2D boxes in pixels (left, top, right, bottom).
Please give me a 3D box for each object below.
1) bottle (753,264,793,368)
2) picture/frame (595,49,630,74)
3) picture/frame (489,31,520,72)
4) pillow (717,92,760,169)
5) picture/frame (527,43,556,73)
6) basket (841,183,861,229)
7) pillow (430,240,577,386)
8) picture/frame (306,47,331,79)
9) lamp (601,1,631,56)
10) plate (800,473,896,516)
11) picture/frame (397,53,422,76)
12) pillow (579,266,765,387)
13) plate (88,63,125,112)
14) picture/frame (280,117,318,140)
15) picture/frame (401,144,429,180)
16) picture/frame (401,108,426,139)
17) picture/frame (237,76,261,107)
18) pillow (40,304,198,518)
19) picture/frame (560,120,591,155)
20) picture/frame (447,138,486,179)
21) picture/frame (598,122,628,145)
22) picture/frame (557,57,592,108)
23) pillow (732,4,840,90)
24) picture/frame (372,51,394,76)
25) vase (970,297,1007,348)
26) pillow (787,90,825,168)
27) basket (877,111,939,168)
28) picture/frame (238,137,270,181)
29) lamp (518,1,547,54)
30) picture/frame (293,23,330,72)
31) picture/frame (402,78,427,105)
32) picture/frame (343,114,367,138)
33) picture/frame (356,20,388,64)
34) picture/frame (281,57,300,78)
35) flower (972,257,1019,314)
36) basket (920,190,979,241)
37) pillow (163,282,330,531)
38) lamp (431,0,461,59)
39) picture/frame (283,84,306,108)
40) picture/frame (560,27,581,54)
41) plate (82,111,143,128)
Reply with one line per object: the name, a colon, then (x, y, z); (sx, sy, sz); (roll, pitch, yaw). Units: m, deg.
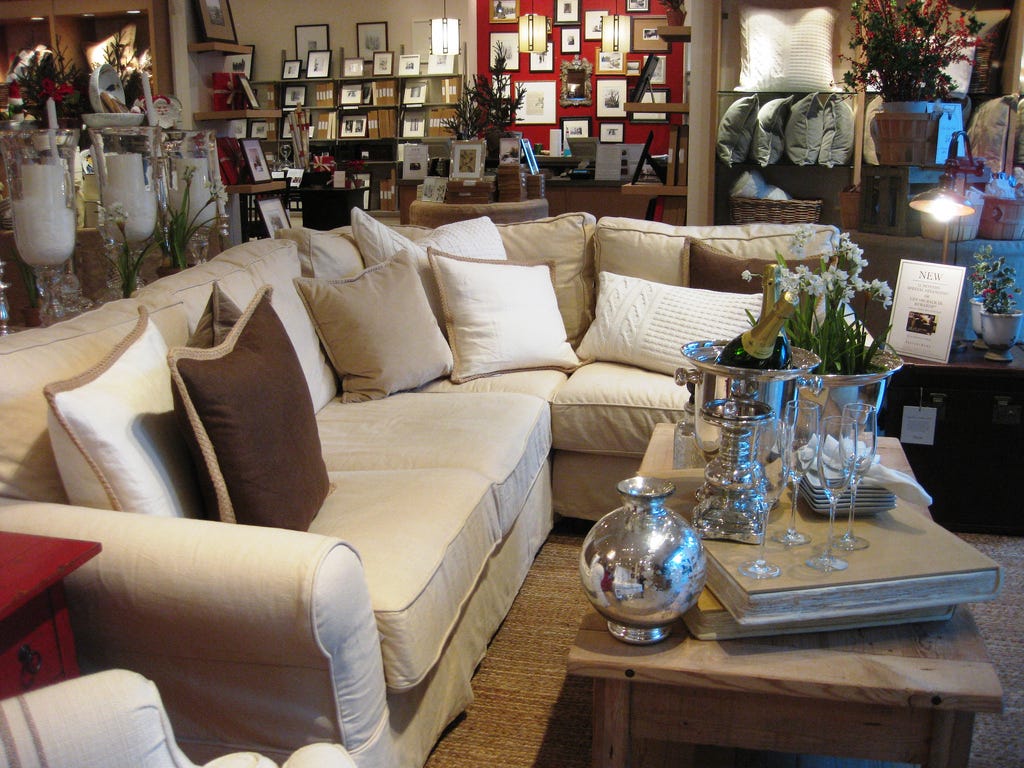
bottle: (0.567, -0.151, 1.734); (0.094, 0.215, 0.199); (5, 16, 27)
picture/frame: (1.122, -3.603, 8.916); (0.249, 0.206, 0.039); (1, 20, 6)
picture/frame: (-0.088, -3.726, 8.951); (0.327, 0.435, 0.203); (-2, 14, 2)
pillow: (1.280, -1.434, 4.662); (0.237, 0.451, 0.481); (3, 17, 23)
picture/frame: (0.325, -3.677, 8.975); (0.254, 0.345, 0.027); (1, 8, 4)
basket: (1.691, -0.890, 4.052); (0.091, 0.211, 0.422); (3, 16, 21)
pillow: (-0.049, -0.254, 3.048); (0.429, 0.554, 0.260); (-9, -4, -13)
picture/frame: (-2.090, -3.495, 8.720); (0.302, 0.352, 0.024); (6, 9, 15)
lamp: (1.113, -3.973, 8.960); (0.435, 0.645, 0.324); (-1, 11, -1)
plate: (0.753, 0.253, 1.815); (0.113, 0.044, 0.109); (-2, 16, -1)
picture/frame: (-1.075, -3.404, 8.517); (0.232, 0.264, 0.025); (7, 28, -6)
pillow: (0.553, -0.236, 2.996); (0.742, 0.532, 0.316); (10, -2, 22)
plate: (-1.351, -0.994, 2.692); (0.109, 0.167, 0.116); (-13, 17, -35)
picture/frame: (-2.327, -2.823, 8.813); (0.368, 0.236, 0.456); (-8, 15, -18)
picture/frame: (-0.706, -1.627, 5.867); (0.176, 0.258, 0.329); (-5, 14, -7)
picture/frame: (-1.047, -2.829, 8.645); (0.271, 0.359, 0.032); (3, 9, 14)
picture/frame: (-1.869, -2.075, 5.704); (0.099, 0.230, 0.274); (-7, 15, -16)
pillow: (-0.860, 0.075, 1.759); (0.112, 0.321, 0.353); (-10, 29, 4)
picture/frame: (0.702, -2.790, 8.840); (0.316, 0.355, 0.582); (-2, 14, 5)
picture/frame: (-0.264, -1.321, 4.712); (0.205, 0.226, 0.262); (-3, 14, 1)
picture/frame: (1.091, -2.807, 8.922); (0.266, 0.198, 0.158); (-1, 14, 7)
picture/frame: (0.702, -3.409, 8.985); (0.453, 0.711, 0.071); (4, 23, 10)
pillow: (1.525, -1.871, 4.428); (0.400, 0.431, 0.151); (4, 8, 10)
picture/frame: (-1.366, -3.444, 8.588); (0.246, 0.287, 0.026); (0, -4, 2)
vase: (1.871, -0.242, 3.155); (0.139, 0.203, 0.145); (1, 18, 19)
pillow: (1.622, -1.443, 4.458); (0.108, 0.332, 0.276); (0, 25, -2)
basket: (1.756, -1.099, 3.640); (0.225, 0.192, 0.244); (1, 14, 7)
picture/frame: (-1.708, -1.503, 5.387); (0.137, 0.282, 0.337); (-5, 14, -8)
lamp: (0.217, -3.950, 8.900); (0.435, 0.661, 0.336); (3, 15, 9)
picture/frame: (-2.164, -3.692, 8.750); (0.487, 0.653, 0.027); (2, 15, 11)
picture/frame: (-1.027, -3.124, 8.562); (0.257, 0.288, 0.152); (0, -1, 10)
picture/frame: (-1.709, -2.842, 8.817); (0.246, 0.250, 0.027); (0, -4, 8)
picture/frame: (-1.487, -3.697, 8.615); (0.409, 0.538, 0.034); (3, 18, 15)
picture/frame: (-2.419, -3.492, 8.821); (0.228, 0.265, 0.025); (-2, -8, 5)
flower: (1.907, -0.425, 3.197); (0.149, 0.211, 0.410); (5, 17, 29)
basket: (1.858, -0.718, 3.435); (0.214, 0.189, 0.223); (-3, 18, -3)
pillow: (-0.640, 0.059, 1.894); (0.168, 0.561, 0.518); (-9, 10, 15)
lamp: (-0.594, -3.140, 7.235); (0.201, 0.305, 0.400); (-13, 17, -36)
picture/frame: (-2.414, -3.208, 8.919); (0.264, 0.231, 0.092); (4, 15, 25)
picture/frame: (0.638, -3.844, 8.919); (0.255, 0.325, 0.030); (-1, 35, -2)
plate: (-1.291, -0.873, 2.642); (0.185, 0.061, 0.170); (10, 19, 41)
